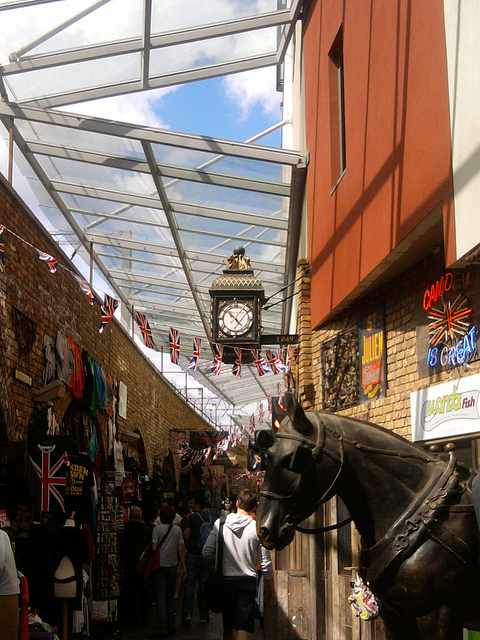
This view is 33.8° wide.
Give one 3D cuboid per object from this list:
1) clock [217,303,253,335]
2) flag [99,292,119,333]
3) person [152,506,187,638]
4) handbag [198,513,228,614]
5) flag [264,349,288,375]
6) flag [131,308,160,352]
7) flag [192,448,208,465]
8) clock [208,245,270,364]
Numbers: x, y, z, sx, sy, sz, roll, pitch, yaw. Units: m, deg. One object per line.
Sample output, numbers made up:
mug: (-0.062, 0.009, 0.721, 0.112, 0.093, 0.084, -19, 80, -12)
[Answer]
clock: (-0.053, 0.010, 10.177, 0.352, 0.412, 0.030, 0, -16, 6)
flag: (-1.583, -0.121, 9.477, 0.179, 0.638, 0.074, 14, -42, 9)
person: (-0.901, 3.094, 9.906, 0.376, 1.298, 1.538, -5, 7, -4)
handbag: (-0.158, 2.151, 6.970, 0.206, 0.841, 0.329, 3, -21, -7)
flag: (0.617, 0.685, 13.031, 0.106, 0.344, 0.319, -6, -17, -28)
flag: (-1.326, 0.145, 11.083, 0.233, 0.690, 0.039, 19, -50, -38)
flag: (-1.516, 5.029, 29.569, 0.188, 0.281, 1.152, -14, -37, -31)
clock: (-0.040, -0.227, 10.504, 0.604, 1.554, 0.619, 1, -7, -2)
